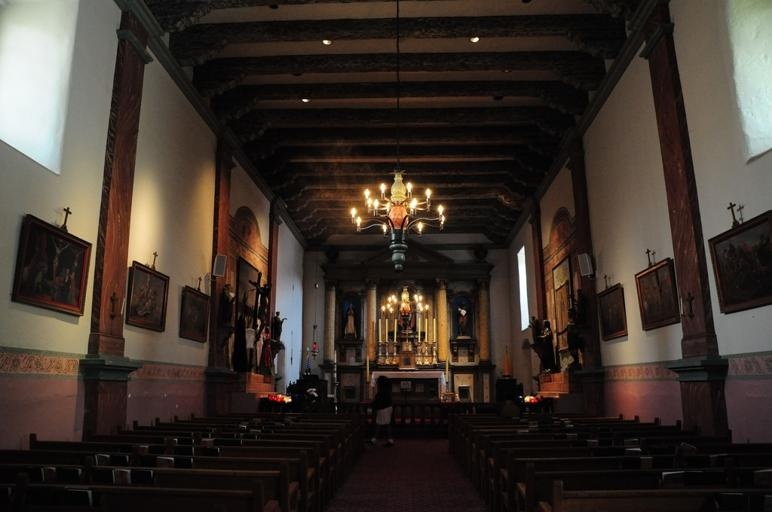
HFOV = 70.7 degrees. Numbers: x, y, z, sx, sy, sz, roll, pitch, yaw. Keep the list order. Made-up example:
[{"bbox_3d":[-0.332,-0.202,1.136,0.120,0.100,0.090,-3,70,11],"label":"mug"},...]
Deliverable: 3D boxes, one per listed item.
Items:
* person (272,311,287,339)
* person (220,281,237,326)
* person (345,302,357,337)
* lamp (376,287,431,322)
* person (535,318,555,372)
[{"bbox_3d":[-3.553,2.288,17.989,0.375,1.165,1.625,2,-17,-11],"label":"person"},{"bbox_3d":[-3.854,1.145,13.254,0.330,0.313,1.193,-5,-55,-31],"label":"person"},{"bbox_3d":[-1.438,2.717,22.670,0.501,1.396,0.204,1,-16,-7],"label":"person"},{"bbox_3d":[0.743,1.924,21.860,1.487,1.065,1.589,-2,-17,10],"label":"lamp"},{"bbox_3d":[4.680,2.617,16.020,0.561,1.601,1.127,-6,-17,16],"label":"person"}]
